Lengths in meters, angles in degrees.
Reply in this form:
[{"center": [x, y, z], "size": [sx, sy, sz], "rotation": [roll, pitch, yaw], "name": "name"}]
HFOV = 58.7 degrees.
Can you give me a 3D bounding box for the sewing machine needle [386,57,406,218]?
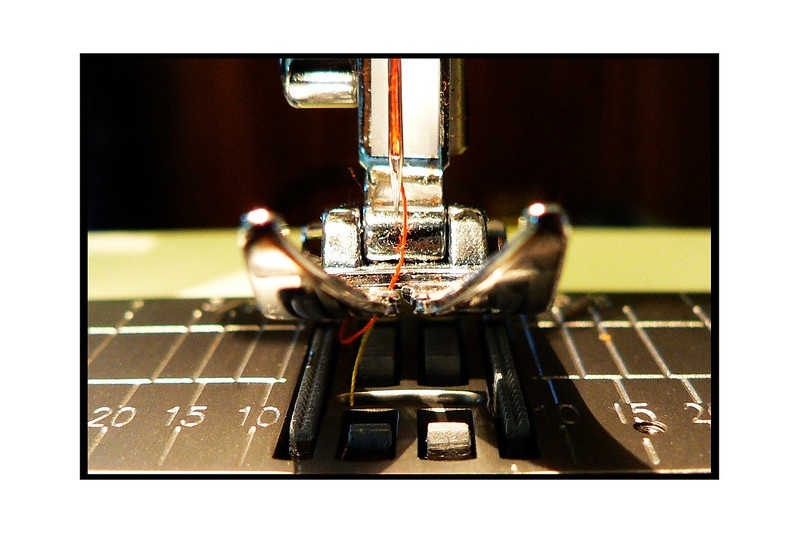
[{"center": [-0.006, -0.223, 1.201], "size": [0.033, 0.248, 0.085], "rotation": [-4, 19, 1], "name": "sewing machine needle"}]
